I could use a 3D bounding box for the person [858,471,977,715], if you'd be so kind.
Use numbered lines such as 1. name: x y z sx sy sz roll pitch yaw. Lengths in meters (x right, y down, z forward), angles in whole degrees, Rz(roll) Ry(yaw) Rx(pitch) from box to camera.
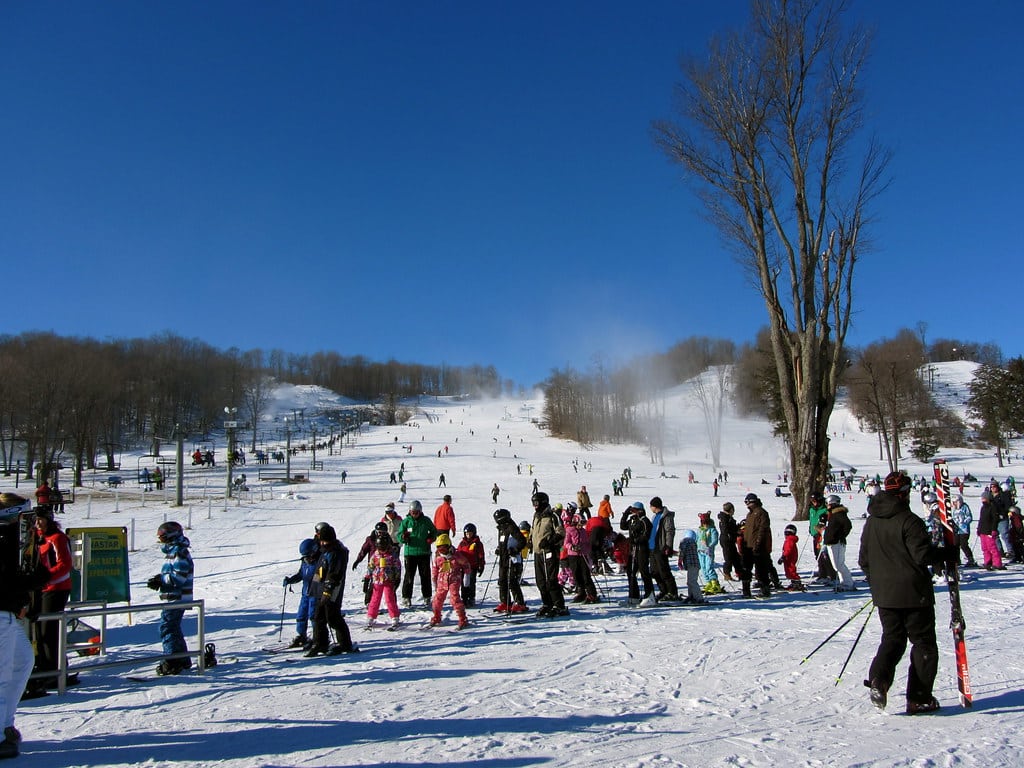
1. person: 5.259 2.778 11.128 1.224 3.183 0.607 -5 -7 25

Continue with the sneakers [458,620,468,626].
1. sneakers: -0.882 4.272 14.893 0.097 0.157 0.145 -5 -6 34

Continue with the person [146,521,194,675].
1. person: -5.278 3.307 12.960 0.560 2.273 1.184 0 -7 -24

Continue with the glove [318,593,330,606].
1. glove: -3.037 3.471 13.452 0.134 0.154 0.043 15 10 -6

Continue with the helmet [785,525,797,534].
1. helmet: 5.763 3.008 17.322 0.199 0.214 0.173 18 -11 22

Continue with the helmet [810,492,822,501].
1. helmet: 6.580 2.442 18.086 0.263 0.229 0.199 17 -22 -38

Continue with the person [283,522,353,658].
1. person: -3.082 3.353 13.660 0.864 2.089 0.484 -5 -6 21

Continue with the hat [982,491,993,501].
1. hat: 10.895 2.591 19.256 0.211 0.239 0.162 21 -21 -31

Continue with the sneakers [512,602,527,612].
1. sneakers: 0.109 4.246 15.811 0.325 0.262 0.122 3 -11 2

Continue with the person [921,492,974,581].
1. person: 7.525 2.657 14.468 0.557 2.791 0.469 -2 -7 15

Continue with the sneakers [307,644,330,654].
1. sneakers: -3.126 4.272 13.453 0.338 0.218 0.129 -3 -6 -2

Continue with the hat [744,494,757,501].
1. hat: 4.718 2.279 16.624 0.169 0.070 0.191 -2 -1 33

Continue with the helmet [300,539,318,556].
1. helmet: -3.376 2.750 13.921 0.203 0.258 0.295 3 22 6

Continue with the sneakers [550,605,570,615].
1. sneakers: 0.865 4.212 15.509 0.389 0.185 0.135 13 -18 -29

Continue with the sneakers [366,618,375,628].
1. sneakers: -2.545 4.306 15.014 0.103 0.171 0.071 8 -4 -4

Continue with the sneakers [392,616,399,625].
1. sneakers: -2.065 4.241 14.980 0.129 0.163 0.131 3 -6 -42

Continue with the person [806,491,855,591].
1. person: 6.544 3.253 17.023 0.676 1.950 1.510 -5 -7 20

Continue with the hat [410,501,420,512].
1. hat: -1.934 2.445 16.680 0.158 0.233 0.219 0 -24 -2

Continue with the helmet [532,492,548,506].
1. helmet: 0.536 2.197 15.814 0.266 0.263 0.614 -3 -7 2

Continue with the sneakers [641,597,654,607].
1. sneakers: 2.607 4.216 16.183 0.294 0.195 0.237 -4 -7 7

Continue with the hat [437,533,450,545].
1. hat: -1.250 2.806 15.016 0.232 0.222 0.596 -3 -7 -3
